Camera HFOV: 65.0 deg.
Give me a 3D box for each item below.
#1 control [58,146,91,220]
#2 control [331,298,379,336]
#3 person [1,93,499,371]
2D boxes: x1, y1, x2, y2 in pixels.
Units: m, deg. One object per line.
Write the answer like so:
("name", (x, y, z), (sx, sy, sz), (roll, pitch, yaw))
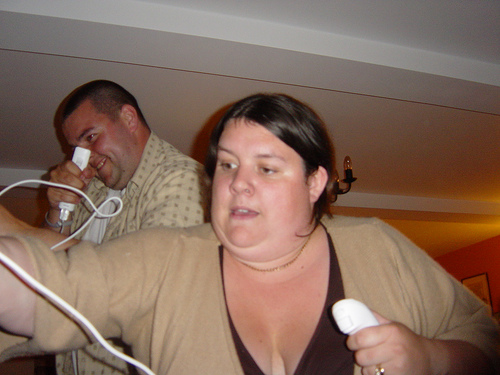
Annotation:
("control", (-0.958, -0.021, 2.198), (0.106, 0.405, 0.107), (4, -16, 7))
("control", (0.335, 0.402, 1.223), (0.159, 0.113, 0.043), (2, -11, -21))
("person", (0.080, 0.141, 1.422), (1.575, 1.023, 0.442), (0, -11, -11))
